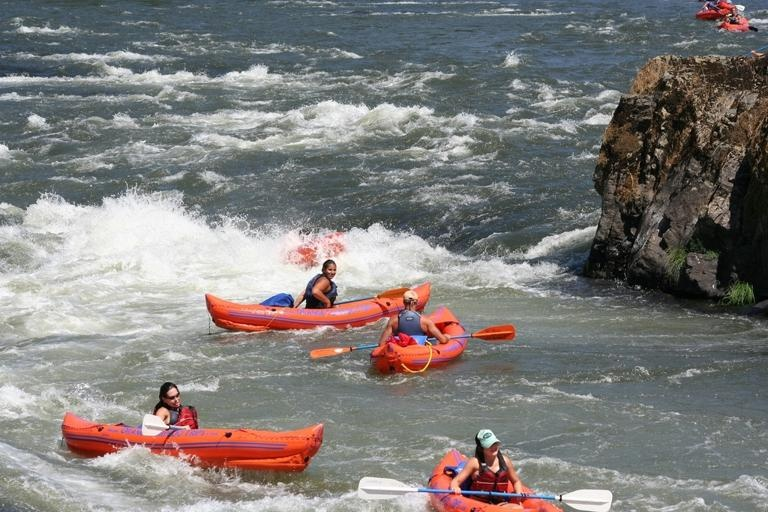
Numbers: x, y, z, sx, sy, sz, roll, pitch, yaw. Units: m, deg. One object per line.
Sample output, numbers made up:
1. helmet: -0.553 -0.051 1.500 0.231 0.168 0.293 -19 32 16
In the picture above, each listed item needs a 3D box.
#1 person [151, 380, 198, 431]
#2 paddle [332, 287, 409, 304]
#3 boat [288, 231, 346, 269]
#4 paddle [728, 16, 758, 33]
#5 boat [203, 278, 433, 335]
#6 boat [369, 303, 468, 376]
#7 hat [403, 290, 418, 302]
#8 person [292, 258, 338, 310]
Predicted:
1. person: -4.728 3.432 31.098 1.285 1.269 0.834 -6 -1 -10
2. paddle: -0.130 1.058 36.004 2.229 0.219 0.555 -10 3 -10
3. boat: -1.855 -0.153 38.822 1.504 0.486 0.876 -25 23 -26
4. paddle: 15.188 -9.686 57.852 1.271 0.318 1.308 14 15 31
5. boat: -2.157 1.440 35.547 6.733 1.069 1.646 -3 14 -13
6. boat: 0.965 2.216 33.396 2.308 1.100 1.109 -8 17 -42
7. hat: 0.671 0.993 33.395 0.278 0.217 0.309 6 -20 -2
8. person: -1.791 0.801 36.322 0.850 1.513 0.817 10 29 -36
